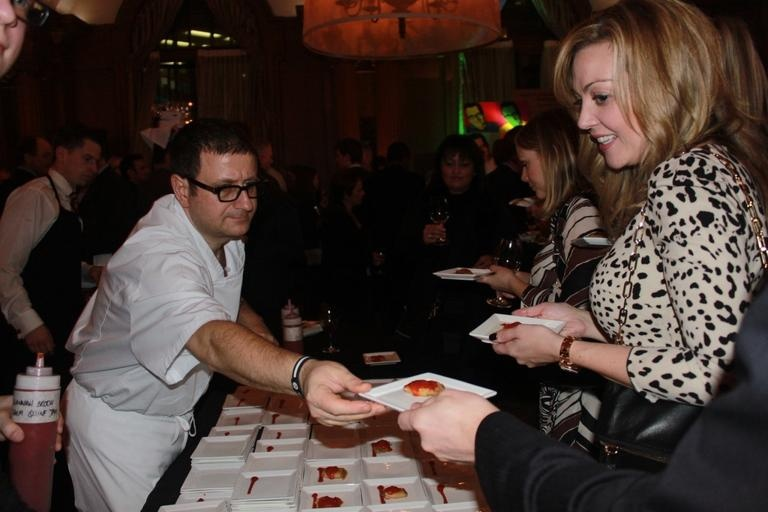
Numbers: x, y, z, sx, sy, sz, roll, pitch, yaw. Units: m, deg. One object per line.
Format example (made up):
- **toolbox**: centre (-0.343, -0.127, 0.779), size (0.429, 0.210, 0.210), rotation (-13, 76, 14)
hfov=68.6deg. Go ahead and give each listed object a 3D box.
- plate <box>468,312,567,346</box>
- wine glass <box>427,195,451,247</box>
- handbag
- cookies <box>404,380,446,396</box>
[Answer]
- **plate**: centre (0.496, 0.263, 2.151), size (0.178, 0.031, 0.186), rotation (-2, 14, 43)
- **wine glass**: centre (0.383, -0.252, 3.894), size (0.127, 0.269, 0.115), rotation (-7, 5, -21)
- **handbag**: centre (0.737, 0.535, 1.669), size (0.281, 0.289, 0.270), rotation (10, -16, 17)
- **cookies**: centre (0.125, 0.417, 1.769), size (0.078, 0.018, 0.055), rotation (6, 25, 7)
